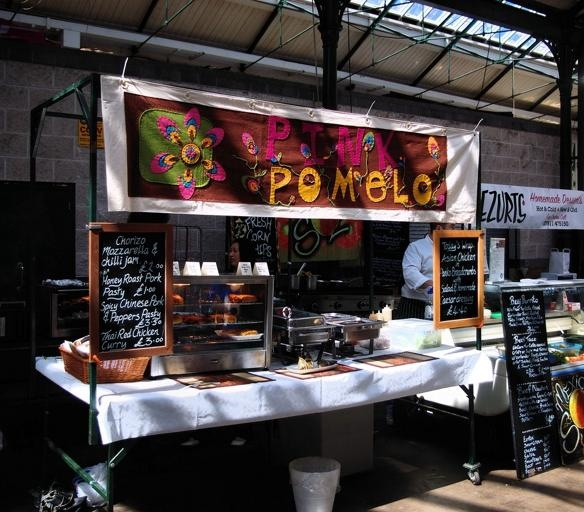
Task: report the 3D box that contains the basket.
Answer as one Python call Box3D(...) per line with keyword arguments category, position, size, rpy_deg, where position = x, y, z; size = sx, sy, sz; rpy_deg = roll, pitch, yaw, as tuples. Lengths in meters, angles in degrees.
Box3D(category="basket", position=(-0.990, 0.605, 2.745), size=(0.322, 0.093, 0.264), rpy_deg=(1, 0, -28))

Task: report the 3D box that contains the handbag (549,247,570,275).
Box3D(category="handbag", position=(2.630, 0.054, 4.993), size=(0.170, 0.253, 0.379), rpy_deg=(-3, -4, 26))

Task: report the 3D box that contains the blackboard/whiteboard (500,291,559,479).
Box3D(category="blackboard/whiteboard", position=(1.798, 0.926, 3.859), size=(0.586, 1.323, 0.176), rpy_deg=(1, -4, -41))

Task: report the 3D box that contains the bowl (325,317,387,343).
Box3D(category="bowl", position=(0.387, 0.482, 3.489), size=(0.232, 0.080, 0.298), rpy_deg=(0, 0, -20))

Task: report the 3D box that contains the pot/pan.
Box3D(category="pot/pan", position=(0.091, 0.466, 3.269), size=(0.355, 0.300, 0.486), rpy_deg=(-2, 6, -28))

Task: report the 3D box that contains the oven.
Box3D(category="oven", position=(-0.394, 0.445, 3.167), size=(0.784, 0.576, 0.424), rpy_deg=(-5, -11, 17))
